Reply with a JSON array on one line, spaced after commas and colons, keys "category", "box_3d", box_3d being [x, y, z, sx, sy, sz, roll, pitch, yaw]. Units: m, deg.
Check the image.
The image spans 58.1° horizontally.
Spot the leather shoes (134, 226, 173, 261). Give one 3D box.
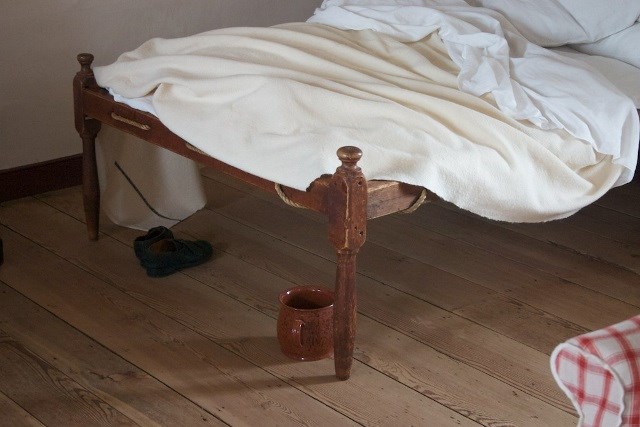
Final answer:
[{"category": "leather shoes", "box_3d": [-0.704, 0.110, 2.394, 0.111, 0.063, 0.199, 13, 32, 30]}]

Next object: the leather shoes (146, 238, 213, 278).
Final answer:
[{"category": "leather shoes", "box_3d": [-0.586, 0.174, 2.416, 0.287, 0.096, 0.132, -18, 38, -37]}]
